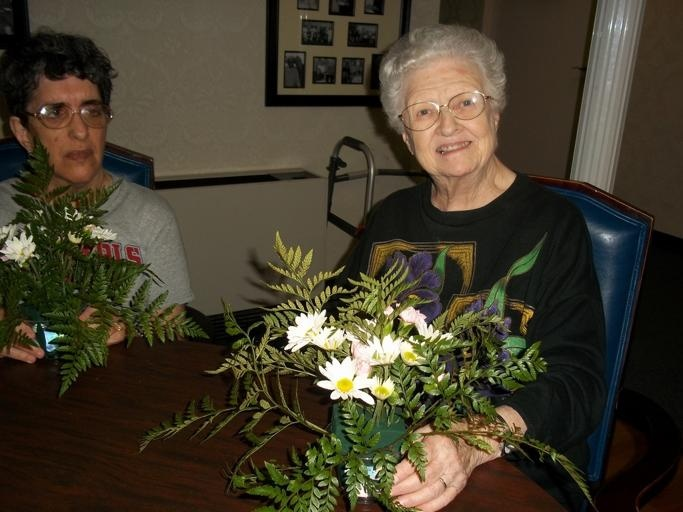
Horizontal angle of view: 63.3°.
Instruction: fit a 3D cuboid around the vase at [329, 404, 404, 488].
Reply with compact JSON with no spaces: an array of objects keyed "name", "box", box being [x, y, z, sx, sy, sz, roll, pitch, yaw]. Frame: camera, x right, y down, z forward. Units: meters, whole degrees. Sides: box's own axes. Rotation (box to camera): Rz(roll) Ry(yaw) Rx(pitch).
[{"name":"vase","box":[0.044,0.354,1.082,0.141,0.104,0.146,0,14,-2]}]
